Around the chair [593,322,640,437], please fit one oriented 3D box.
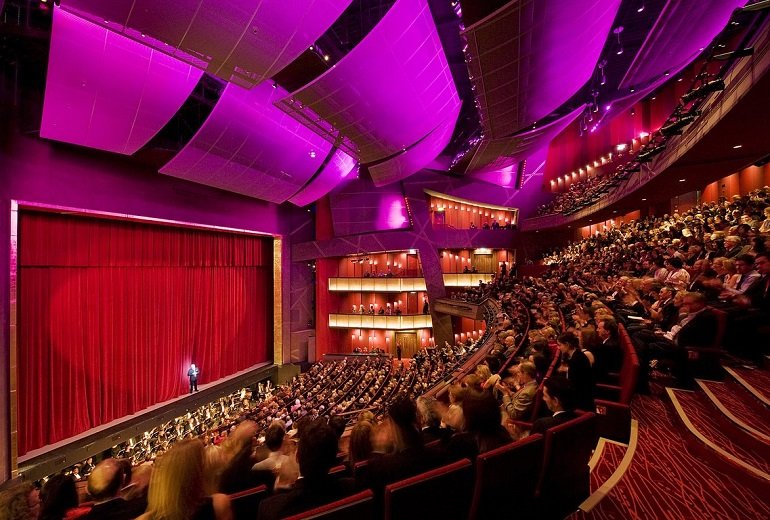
[{"bbox_3d":[3.931,2.109,8.296,0.765,1.114,1.614,-8,-2,26],"label":"chair"}]
